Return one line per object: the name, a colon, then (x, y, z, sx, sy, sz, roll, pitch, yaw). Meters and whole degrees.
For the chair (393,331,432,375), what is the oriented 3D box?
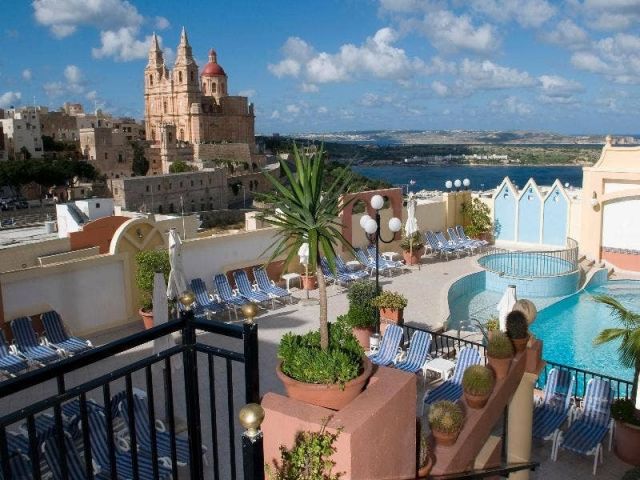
chair: (1.855, 2.134, 10.573, 0.387, 0.611, 1.228, 5, 16, 34)

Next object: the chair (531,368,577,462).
chair: (3.984, 2.722, 9.334, 0.521, 0.894, 1.802, 4, 13, 30)

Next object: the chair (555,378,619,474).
chair: (4.329, 2.946, 8.870, 0.695, 1.171, 1.560, 5, 13, 34)

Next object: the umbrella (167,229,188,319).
umbrella: (-2.825, 0.676, 10.866, 0.304, 2.061, 0.559, -1, -6, -7)

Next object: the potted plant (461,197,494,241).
potted plant: (6.698, -0.857, 22.821, 1.491, 2.518, 1.612, -1, 5, 10)

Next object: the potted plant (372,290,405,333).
potted plant: (1.532, 1.651, 12.033, 0.836, 1.109, 0.789, 0, 2, 6)

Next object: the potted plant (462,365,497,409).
potted plant: (2.186, 1.996, 7.675, 0.456, 0.543, 0.475, 0, 10, 2)
